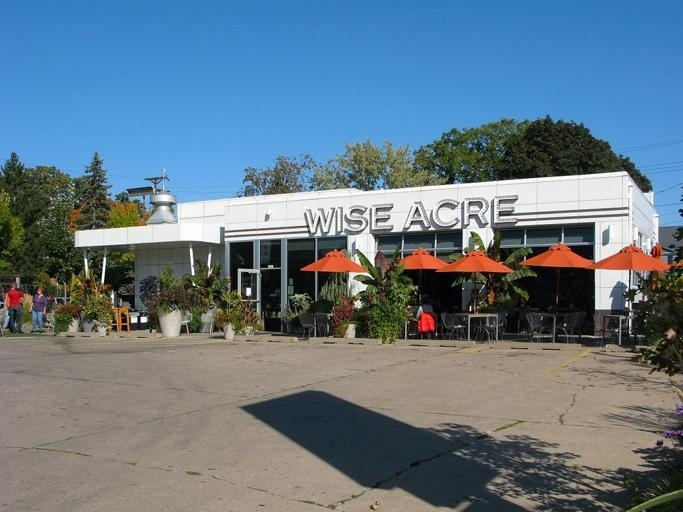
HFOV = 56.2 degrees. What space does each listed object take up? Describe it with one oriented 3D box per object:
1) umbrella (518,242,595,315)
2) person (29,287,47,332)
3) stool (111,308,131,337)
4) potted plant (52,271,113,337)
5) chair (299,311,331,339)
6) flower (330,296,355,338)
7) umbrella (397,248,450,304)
[{"bbox_3d":[6.789,0.662,20.485,2.384,2.486,2.714,-1,1,21],"label":"umbrella"},{"bbox_3d":[-12.852,2.333,27.113,0.470,1.846,1.133,0,0,-27],"label":"person"},{"bbox_3d":[-9.426,2.741,27.408,0.715,1.014,2.200,0,-1,-19],"label":"stool"},{"bbox_3d":[-10.257,1.914,25.385,2.359,2.199,1.383,-1,0,23],"label":"potted plant"},{"bbox_3d":[-0.910,2.386,22.106,0.875,0.646,0.358,3,-4,-43],"label":"chair"},{"bbox_3d":[0.047,2.110,21.783,0.797,0.945,1.443,0,-1,-7],"label":"flower"},{"bbox_3d":[2.661,0.358,22.001,1.642,1.532,1.733,-2,-3,22],"label":"umbrella"}]
